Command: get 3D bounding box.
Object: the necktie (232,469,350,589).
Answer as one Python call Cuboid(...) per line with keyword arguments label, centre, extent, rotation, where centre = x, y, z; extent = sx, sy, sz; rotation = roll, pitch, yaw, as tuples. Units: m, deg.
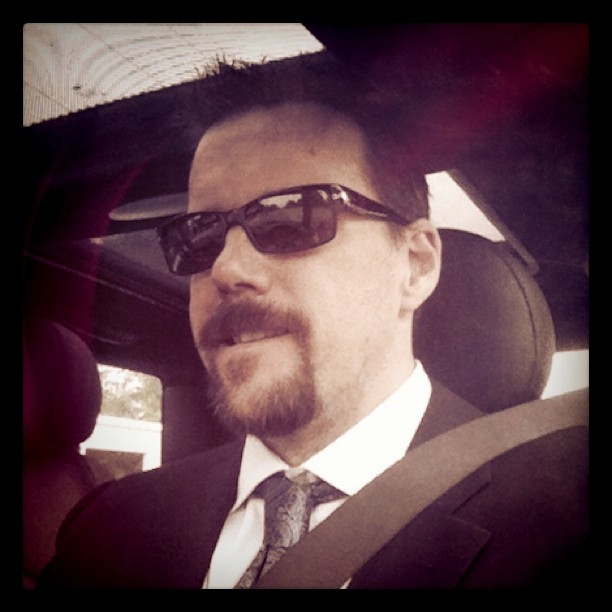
Cuboid(label="necktie", centre=(-0.077, 0.667, 2.229), extent=(0.262, 0.537, 0.073), rotation=(-1, 41, -21))
